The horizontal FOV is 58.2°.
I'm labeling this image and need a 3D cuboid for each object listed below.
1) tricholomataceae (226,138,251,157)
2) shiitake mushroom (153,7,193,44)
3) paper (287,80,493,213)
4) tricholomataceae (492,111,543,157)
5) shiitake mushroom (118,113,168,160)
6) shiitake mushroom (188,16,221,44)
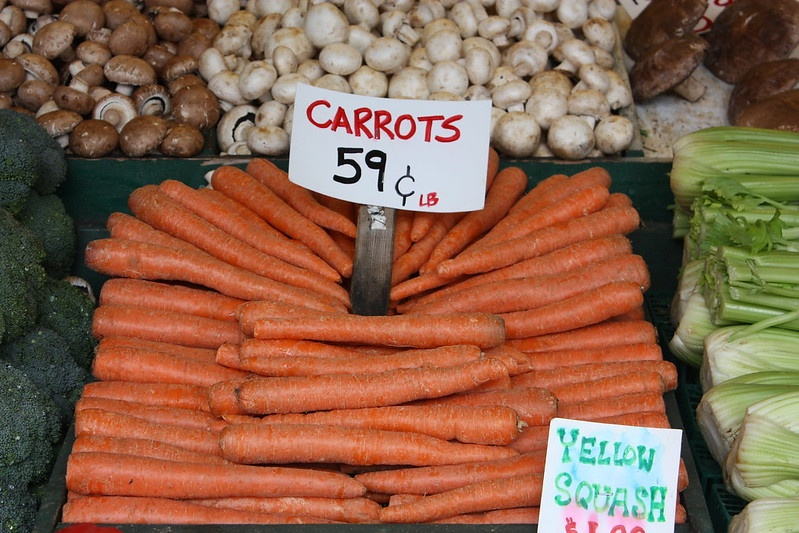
[{"bbox_3d":[-1.085,-0.773,4.872,0.142,0.040,0.138,36,74,29],"label":"tricholomataceae"},{"bbox_3d":[-1.653,-1.775,5.259,0.215,0.140,0.263,-23,77,-22],"label":"shiitake mushroom"},{"bbox_3d":[-0.054,-0.545,3.421,0.849,0.047,0.578,8,105,5],"label":"paper"},{"bbox_3d":[0.762,-0.887,4.690,0.367,0.403,0.204,-14,77,14],"label":"tricholomataceae"},{"bbox_3d":[-1.649,-0.903,4.607,0.362,0.112,0.415,-17,49,-11],"label":"shiitake mushroom"},{"bbox_3d":[-1.453,-1.754,5.341,0.209,0.117,0.225,4,62,-14],"label":"shiitake mushroom"}]
